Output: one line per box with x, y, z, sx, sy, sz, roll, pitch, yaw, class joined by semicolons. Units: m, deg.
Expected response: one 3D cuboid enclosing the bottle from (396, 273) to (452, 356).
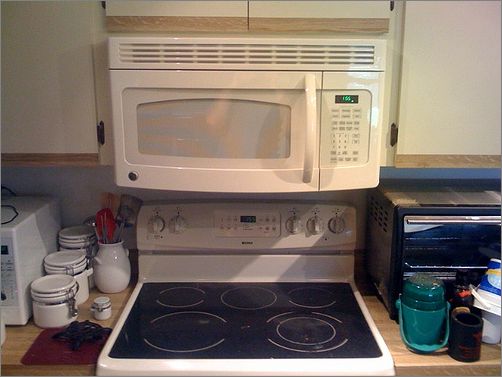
0.618;0.433;1.424;0.208;0.232;0.156;2;13;7;bottle
